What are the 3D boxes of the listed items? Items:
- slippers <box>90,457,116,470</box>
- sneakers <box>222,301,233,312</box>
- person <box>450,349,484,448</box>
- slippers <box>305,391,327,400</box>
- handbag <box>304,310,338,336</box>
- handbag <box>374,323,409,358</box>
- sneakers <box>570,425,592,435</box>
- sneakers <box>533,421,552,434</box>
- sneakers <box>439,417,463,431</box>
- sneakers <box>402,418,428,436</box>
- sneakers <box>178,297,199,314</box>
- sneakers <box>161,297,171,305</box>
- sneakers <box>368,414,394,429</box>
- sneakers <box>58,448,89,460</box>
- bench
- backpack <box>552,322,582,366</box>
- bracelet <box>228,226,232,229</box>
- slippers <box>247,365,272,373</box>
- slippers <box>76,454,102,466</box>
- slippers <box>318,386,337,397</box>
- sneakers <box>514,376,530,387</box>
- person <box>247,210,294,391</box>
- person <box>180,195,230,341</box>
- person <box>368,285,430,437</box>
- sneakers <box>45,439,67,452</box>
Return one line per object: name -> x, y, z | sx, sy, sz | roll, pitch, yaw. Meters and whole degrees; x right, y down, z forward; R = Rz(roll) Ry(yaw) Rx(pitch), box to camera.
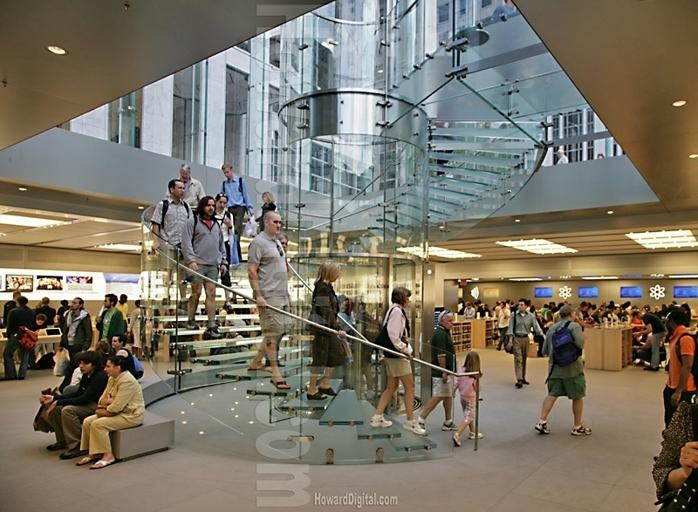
slippers -> -3.399, 2.851, 7.245 | 0.273, 0.097, 0.248 | 1, -1, -5
sneakers -> -1.841, 0.789, 8.090 | 0.128, 0.199, 0.323 | 1, -1, -24
person -> 1.914, 2.267, 8.480 | 0.465, 1.371, 1.068 | 1, -1, 14
slippers -> -0.451, 1.907, 7.190 | 0.246, 0.092, 0.094 | 1, -5, -9
handbag -> -0.344, 0.933, 7.253 | 0.482, 0.312, 0.164 | 1, -1, -27
handbag -> 0.642, 1.322, 8.125 | 0.456, 0.842, 0.618 | 5, -10, -6
sneakers -> 3.815, 2.879, 8.742 | 0.364, 0.159, 0.151 | 0, -4, -8
sneakers -> 3.228, 2.874, 8.850 | 0.136, 0.238, 0.348 | -1, -4, 41
sneakers -> 1.670, 2.820, 8.816 | 0.293, 0.201, 0.131 | 4, -3, -41
sneakers -> 0.962, 2.541, 7.746 | 0.373, 0.240, 0.191 | 1, -1, -36
sneakers -> -2.543, 0.798, 8.255 | 0.227, 0.225, 0.177 | 0, -2, -11
sneakers -> -2.878, 0.716, 8.273 | 0.128, 0.141, 0.142 | 3, -3, -43
sneakers -> 0.436, 2.368, 7.539 | 0.355, 0.243, 0.140 | 0, -3, -18
sneakers -> -3.946, 2.837, 7.537 | 0.395, 0.108, 0.148 | 7, -8, -32
bench -> -3.424, 2.243, 7.851 | 1.109, 1.298, 1.221 | 0, -2, -41
backpack -> 3.611, 1.486, 8.724 | 0.329, 0.600, 0.400 | 33, -46, -30
bracelet -> -2.451, -0.579, 10.838 | 0.059, 0.056, 0.059 | -3, 4, -34
slippers -> -1.235, 1.555, 7.216 | 0.314, 0.124, 0.112 | -1, -2, 4
slippers -> -3.633, 2.844, 7.353 | 0.306, 0.078, 0.114 | 7, -11, -36
slippers -> -0.300, 1.881, 7.316 | 0.279, 0.111, 0.101 | 23, -11, -29
sneakers -> 4.122, 3.025, 12.622 | 0.164, 0.217, 0.502 | 0, 2, 26
person -> -1.088, 0.601, 7.209 | 0.598, 2.403, 0.469 | 1, -1, -14
person -> -2.337, 0.168, 8.387 | 0.617, 2.249, 1.085 | 1, -1, -16
person -> 0.653, 1.568, 7.886 | 0.894, 2.162, 0.628 | 1, -1, -21
sneakers -> -4.334, 2.827, 7.810 | 0.313, 0.126, 0.110 | 6, -7, -12
